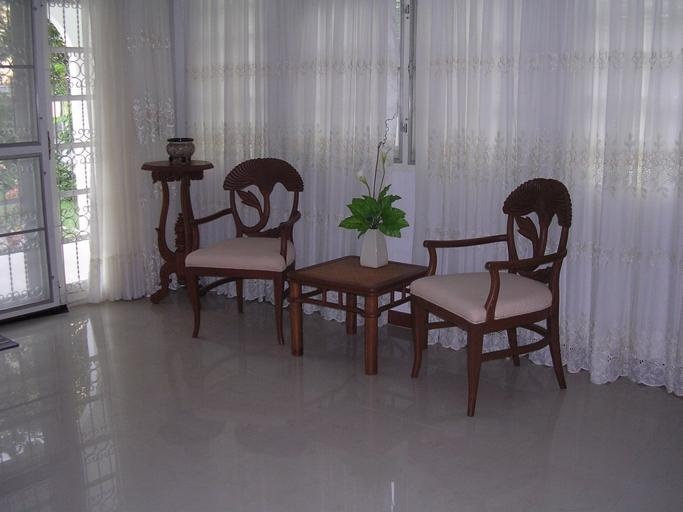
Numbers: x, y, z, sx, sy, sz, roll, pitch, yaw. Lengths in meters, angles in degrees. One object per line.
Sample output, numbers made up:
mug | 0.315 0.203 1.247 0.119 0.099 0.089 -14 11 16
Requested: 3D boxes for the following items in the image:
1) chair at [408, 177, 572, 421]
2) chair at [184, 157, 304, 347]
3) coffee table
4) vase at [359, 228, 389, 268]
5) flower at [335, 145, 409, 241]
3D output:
chair | 1.024 0.193 3.449 1.001 1.362 0.672 -7 14 -24
chair | -0.800 -0.078 4.363 0.896 1.414 0.993 -1 12 -5
coffee table | 0.072 0.285 3.873 0.806 0.674 0.829 6 11 34
vase | 0.257 -0.046 3.957 0.217 0.315 0.229 9 -7 0
flower | 0.255 -0.450 3.992 0.553 0.850 0.462 12 -4 -30
